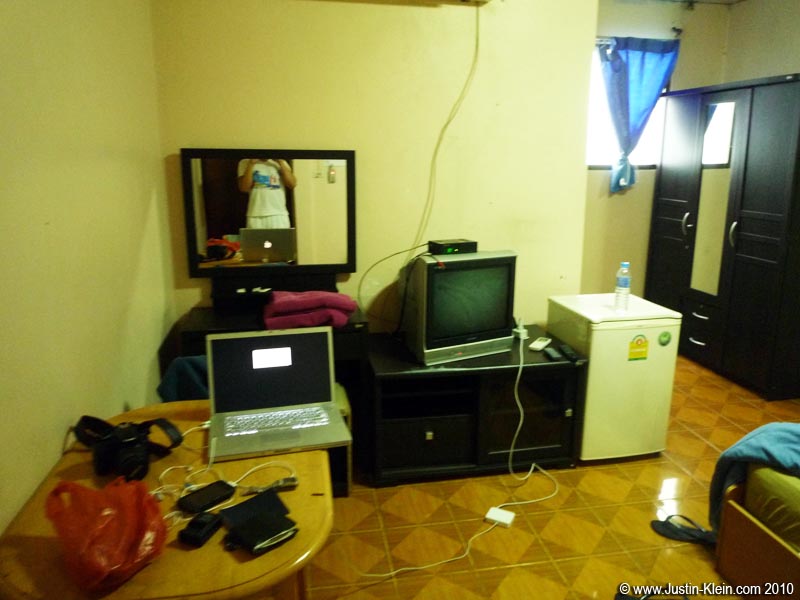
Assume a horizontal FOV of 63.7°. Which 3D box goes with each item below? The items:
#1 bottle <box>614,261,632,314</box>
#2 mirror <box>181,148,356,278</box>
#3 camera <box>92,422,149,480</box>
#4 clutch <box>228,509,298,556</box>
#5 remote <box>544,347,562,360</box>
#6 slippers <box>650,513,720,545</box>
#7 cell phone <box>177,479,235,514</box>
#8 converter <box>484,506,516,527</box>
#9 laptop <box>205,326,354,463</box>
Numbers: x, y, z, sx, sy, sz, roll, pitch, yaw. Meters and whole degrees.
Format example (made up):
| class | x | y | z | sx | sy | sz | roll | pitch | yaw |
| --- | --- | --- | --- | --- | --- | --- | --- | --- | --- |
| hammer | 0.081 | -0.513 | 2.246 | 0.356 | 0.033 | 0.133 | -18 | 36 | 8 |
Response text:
| class | x | y | z | sx | sy | sz | roll | pitch | yaw |
| --- | --- | --- | --- | --- | --- | --- | --- | --- | --- |
| bottle | 1.256 | -0.097 | 3.633 | 0.081 | 0.241 | 0.302 | 5 | 15 | 18 |
| mirror | -0.804 | -0.531 | 3.738 | 0.769 | 0.571 | 0.033 | -1 | 10 | -9 |
| camera | -1.050 | 0.578 | 2.390 | 0.241 | 0.183 | 0.241 | -2 | 1 | -17 |
| clutch | -0.449 | 0.760 | 2.092 | 0.227 | 0.067 | 0.121 | -5 | 15 | -18 |
| remote | 0.832 | 0.290 | 3.493 | 0.061 | 0.017 | 0.060 | 2 | 27 | -9 |
| slippers | 1.363 | 1.100 | 3.122 | 0.280 | 0.037 | 0.198 | 4 | 15 | 17 |
| cell phone | -0.665 | 0.680 | 2.235 | 0.081 | 0.029 | 0.144 | 18 | 24 | 39 |
| converter | 0.495 | 1.069 | 3.184 | 0.135 | 0.039 | 0.103 | 8 | 16 | 28 |
| laptop | -0.536 | 0.384 | 2.705 | 0.600 | 0.375 | 0.535 | -4 | 24 | -14 |
